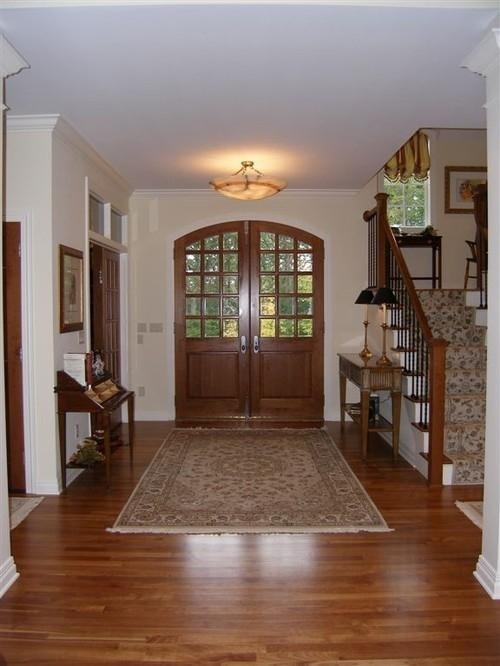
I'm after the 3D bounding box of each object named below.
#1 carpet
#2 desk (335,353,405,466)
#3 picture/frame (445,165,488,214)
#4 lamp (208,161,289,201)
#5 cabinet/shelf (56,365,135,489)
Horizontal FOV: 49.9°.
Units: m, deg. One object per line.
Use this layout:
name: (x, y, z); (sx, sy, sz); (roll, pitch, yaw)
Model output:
carpet: (-0.010, 1.147, 4.363); (1.733, 0.028, 2.341); (0, 2, -1)
desk: (1.183, 0.755, 5.224); (0.308, 0.668, 0.920); (0, 5, 2)
picture/frame: (3.083, -2.054, 7.731); (0.616, 0.689, 0.153); (-1, 3, -9)
lamp: (-0.009, -1.418, 4.930); (0.480, 0.227, 0.476); (0, -6, 6)
cabinet/shelf: (-1.258, 0.786, 4.319); (0.370, 0.730, 0.911); (0, 3, -1)
